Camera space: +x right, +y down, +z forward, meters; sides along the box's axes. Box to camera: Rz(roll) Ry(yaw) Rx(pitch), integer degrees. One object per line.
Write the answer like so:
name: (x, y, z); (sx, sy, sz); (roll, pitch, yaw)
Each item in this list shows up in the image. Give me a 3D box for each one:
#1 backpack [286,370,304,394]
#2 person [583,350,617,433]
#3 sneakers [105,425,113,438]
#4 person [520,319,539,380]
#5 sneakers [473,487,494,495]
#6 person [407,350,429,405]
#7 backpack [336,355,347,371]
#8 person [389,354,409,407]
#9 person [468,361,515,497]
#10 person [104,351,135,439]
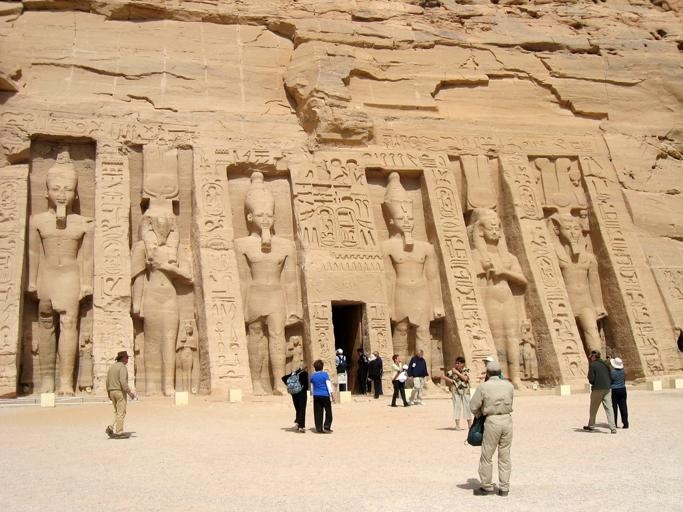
backpack: (-0.695, 1.789, 8.505); (0.238, 0.323, 0.181); (-15, -17, 43)
person: (3.605, 1.901, 8.506); (0.474, 1.116, 0.731); (-8, -13, 20)
sneakers: (-3.006, 2.256, 7.766); (0.082, 0.156, 0.360); (2, -12, -22)
person: (4.713, 2.359, 15.065); (0.489, 1.484, 0.197); (3, -15, -26)
sneakers: (1.289, 2.128, 5.483); (0.172, 0.073, 0.197); (-5, -11, 11)
person: (1.437, 2.304, 11.434); (0.357, 1.009, 1.136); (-5, -12, 5)
backpack: (-0.036, 2.415, 13.519); (0.203, 0.383, 0.375); (-3, -12, -1)
person: (1.073, 2.341, 11.341); (0.346, 0.951, 0.679); (-5, -12, 4)
person: (1.420, 1.597, 5.687); (0.453, 1.195, 0.460); (-6, -13, 12)
person: (-2.905, 1.793, 7.828); (0.294, 1.094, 0.583); (2, -13, -22)
